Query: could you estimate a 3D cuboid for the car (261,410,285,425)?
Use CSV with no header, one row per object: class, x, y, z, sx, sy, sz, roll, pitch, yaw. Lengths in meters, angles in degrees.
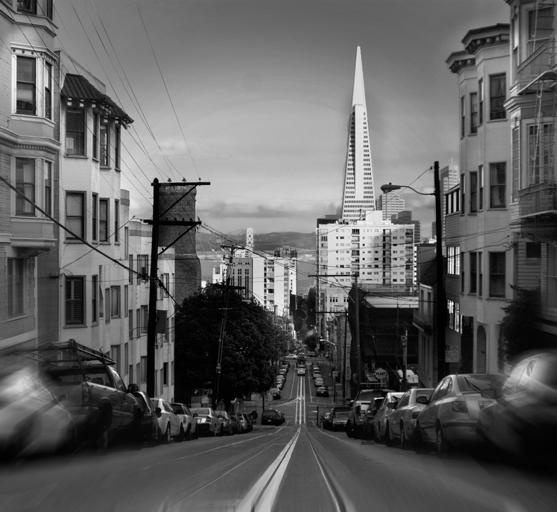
car,-0.495,12.658,62.898,1.403,0.911,2.411,2,-1,12
